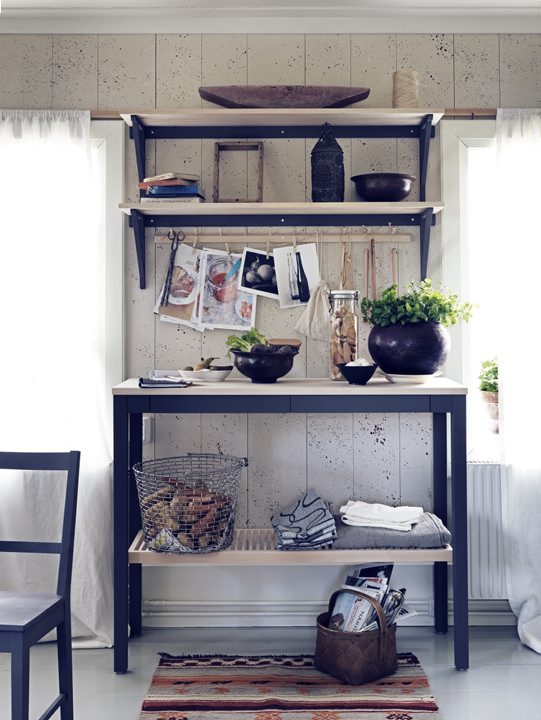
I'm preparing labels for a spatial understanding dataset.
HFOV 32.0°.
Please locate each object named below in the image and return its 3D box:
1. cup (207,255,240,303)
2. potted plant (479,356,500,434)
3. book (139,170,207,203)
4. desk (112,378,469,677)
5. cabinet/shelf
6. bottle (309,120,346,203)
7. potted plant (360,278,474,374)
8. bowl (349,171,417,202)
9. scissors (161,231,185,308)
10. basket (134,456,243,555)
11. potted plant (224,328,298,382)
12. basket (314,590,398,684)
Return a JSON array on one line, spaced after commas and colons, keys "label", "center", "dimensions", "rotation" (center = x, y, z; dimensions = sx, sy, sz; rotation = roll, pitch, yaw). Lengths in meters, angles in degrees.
[{"label": "cup", "center": [-0.167, -0.312, 3.519], "dimensions": [0.094, 0.181, 0.171], "rotation": [0, 11, 1]}, {"label": "potted plant", "center": [0.838, 0.142, 3.616], "dimensions": [0.077, 0.275, 0.216], "rotation": [2, 12, 12]}, {"label": "book", "center": [-0.348, -0.610, 3.323], "dimensions": [0.226, 0.096, 0.133], "rotation": [-2, 12, -9]}, {"label": "desk", "center": [0.047, 0.610, 3.271], "dimensions": [0.854, 0.798, 0.332], "rotation": [-1, 2, 0]}, {"label": "cabinet/shelf", "center": [0.042, -0.571, 3.397], "dimensions": [1.172, 0.639, 0.334], "rotation": [0, 11, 1]}, {"label": "bottle", "center": [0.203, -0.686, 3.329], "dimensions": [0.111, 0.241, 0.071], "rotation": [1, 11, 6]}, {"label": "potted plant", "center": [0.500, -0.087, 3.234], "dimensions": [0.290, 0.310, 0.332], "rotation": [-1, -4, -16]}, {"label": "bowl", "center": [0.394, -0.607, 3.309], "dimensions": [0.218, 0.097, 0.081], "rotation": [1, 11, 8]}, {"label": "scissors", "center": [-0.375, -0.340, 3.536], "dimensions": [0.079, 0.270, 0.027], "rotation": [7, 4, 2]}, {"label": "basket", "center": [-0.266, 0.496, 3.172], "dimensions": [0.301, 0.226, 0.328], "rotation": [2, -6, -15]}, {"label": "potted plant", "center": [-0.029, -0.010, 3.263], "dimensions": [0.172, 0.140, 0.194], "rotation": [1, -1, -2]}, {"label": "basket", "center": [0.267, 0.896, 3.146], "dimensions": [0.223, 0.297, 0.280], "rotation": [2, -2, -38]}]
